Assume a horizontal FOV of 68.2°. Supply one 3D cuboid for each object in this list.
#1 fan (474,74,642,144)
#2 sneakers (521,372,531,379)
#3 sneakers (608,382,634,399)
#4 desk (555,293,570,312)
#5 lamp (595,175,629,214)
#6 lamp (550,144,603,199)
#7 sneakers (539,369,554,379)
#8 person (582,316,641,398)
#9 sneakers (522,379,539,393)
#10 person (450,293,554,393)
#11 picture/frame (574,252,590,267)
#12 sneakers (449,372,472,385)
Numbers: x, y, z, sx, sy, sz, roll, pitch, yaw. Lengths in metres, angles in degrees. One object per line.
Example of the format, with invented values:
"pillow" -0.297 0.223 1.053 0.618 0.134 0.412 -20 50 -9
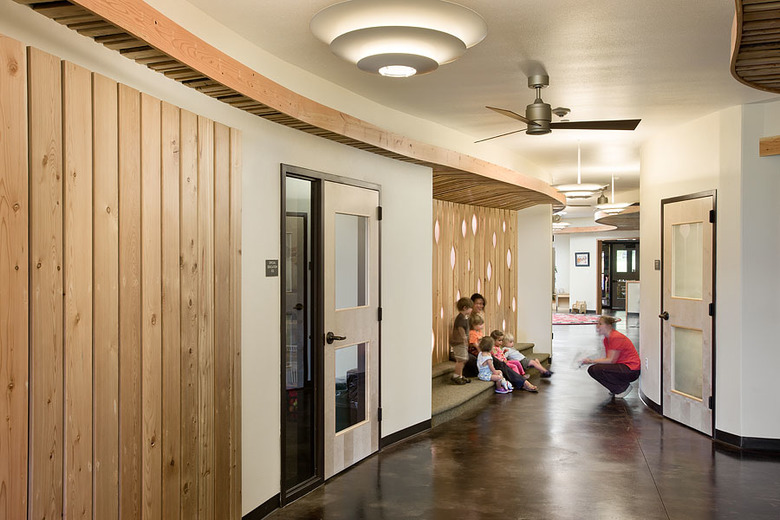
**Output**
"fan" 1.691 -1.409 5.628 0.876 0.279 0.859 1 -3 28
"sneakers" 2.185 1.854 9.165 0.204 0.061 0.193 1 3 -1
"sneakers" 3.278 1.884 8.246 0.200 0.206 0.527 0 -11 -33
"desk" 6.617 1.573 22.040 0.476 0.621 1.572 1 2 16
"lamp" 4.580 -1.340 11.994 0.751 0.783 0.722 0 -5 14
"lamp" 3.070 -1.405 9.388 0.766 0.720 0.761 1 -3 -9
"sneakers" 2.597 1.894 9.528 0.151 0.095 0.234 -1 -8 7
"person" 3.167 1.356 8.172 0.789 1.150 0.511 0 3 -2
"sneakers" 2.107 1.869 8.604 0.210 0.172 0.377 1 2 15
"person" 1.593 1.377 8.854 1.746 1.370 1.014 1 -3 12
"picture/frame" 7.074 -0.024 21.101 0.608 0.553 0.042 1 -5 25
"sneakers" 1.034 1.682 8.214 0.328 0.131 0.259 0 2 -13
